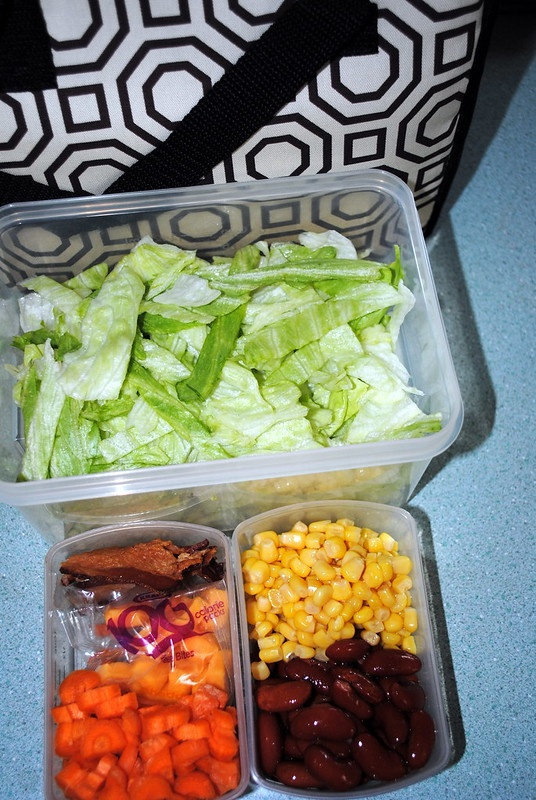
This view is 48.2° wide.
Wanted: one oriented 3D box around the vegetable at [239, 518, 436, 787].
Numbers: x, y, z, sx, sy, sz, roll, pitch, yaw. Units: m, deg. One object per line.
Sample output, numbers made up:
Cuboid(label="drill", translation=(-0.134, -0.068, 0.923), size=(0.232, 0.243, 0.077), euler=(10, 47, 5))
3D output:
Cuboid(label="vegetable", translation=(0.105, 0.358, 0.907), size=(0.274, 0.368, 0.154), euler=(-7, -18, -1))

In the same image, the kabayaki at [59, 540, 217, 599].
Cuboid(label="kabayaki", translation=(-0.201, 0.263, 0.952), size=(0.241, 0.082, 0.075), euler=(3, 21, -15))
